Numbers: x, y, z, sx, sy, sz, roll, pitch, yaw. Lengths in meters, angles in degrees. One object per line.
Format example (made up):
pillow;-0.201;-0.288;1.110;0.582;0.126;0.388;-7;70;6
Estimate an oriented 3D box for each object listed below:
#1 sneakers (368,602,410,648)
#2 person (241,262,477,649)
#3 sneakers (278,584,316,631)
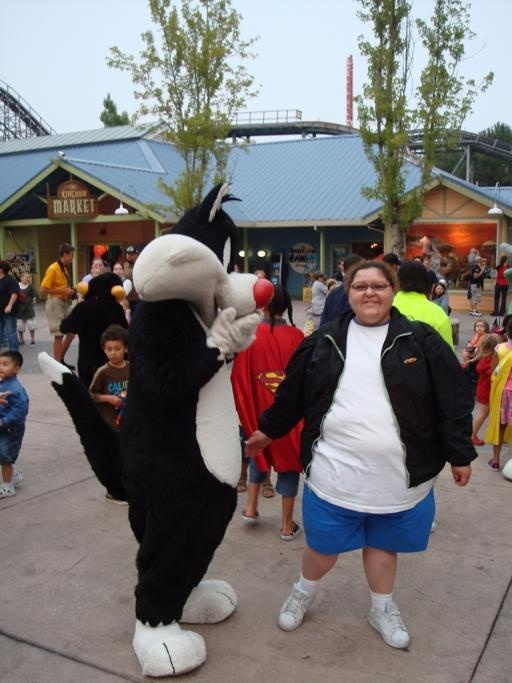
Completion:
sneakers;0.560;1.181;2.623;0.092;0.130;0.229;-5;1;-25
person;0.445;0.467;2.556;0.856;1.579;0.358;4;8;19
sneakers;0.171;1.168;2.718;0.091;0.100;0.261;12;14;20
